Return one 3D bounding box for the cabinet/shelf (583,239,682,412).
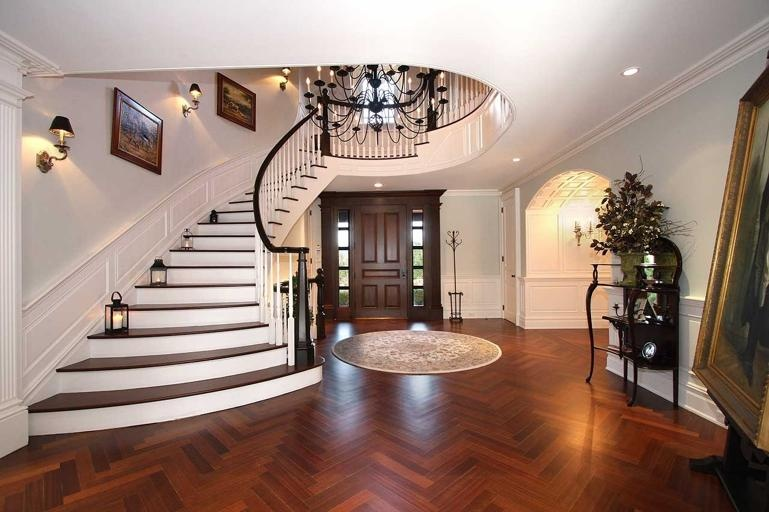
[{"bbox_3d":[2.907,0.688,5.759,0.741,1.842,1.170,-1,4,0],"label":"cabinet/shelf"}]

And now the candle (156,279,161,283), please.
[{"bbox_3d":[-2.851,0.306,6.120,0.034,0.049,0.050,-3,2,-7],"label":"candle"}]

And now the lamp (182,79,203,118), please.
[{"bbox_3d":[-2.867,-2.372,7.223,0.274,0.560,0.534,-2,4,-21],"label":"lamp"}]

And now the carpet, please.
[{"bbox_3d":[0.456,1.387,7.193,2.416,0.043,2.305,2,5,39],"label":"carpet"}]

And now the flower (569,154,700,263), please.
[{"bbox_3d":[2.974,-0.582,5.930,0.894,1.113,1.056,-5,6,2],"label":"flower"}]

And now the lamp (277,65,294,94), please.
[{"bbox_3d":[-1.888,-3.407,9.186,0.244,0.492,0.614,-2,4,-10],"label":"lamp"}]

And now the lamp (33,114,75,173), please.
[{"bbox_3d":[-3.489,-1.205,5.168,0.342,0.578,0.211,-8,-1,-5],"label":"lamp"}]

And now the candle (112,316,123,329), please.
[{"bbox_3d":[-3.022,0.740,5.494,0.123,0.212,0.119,-2,6,-32],"label":"candle"}]
